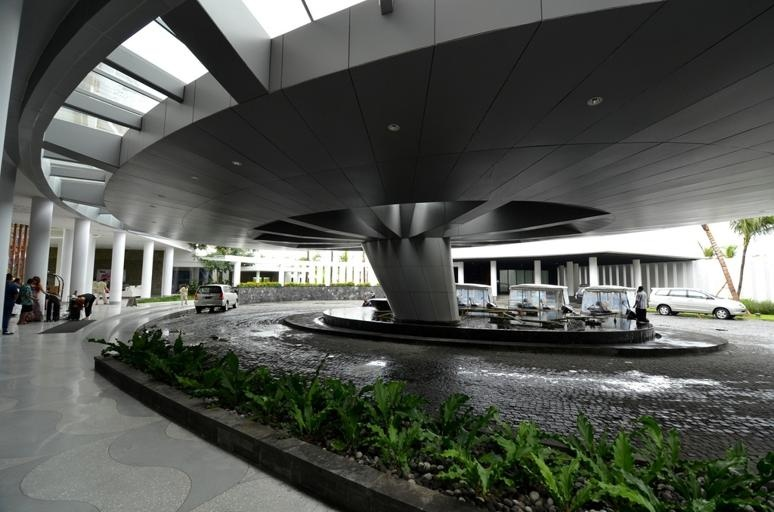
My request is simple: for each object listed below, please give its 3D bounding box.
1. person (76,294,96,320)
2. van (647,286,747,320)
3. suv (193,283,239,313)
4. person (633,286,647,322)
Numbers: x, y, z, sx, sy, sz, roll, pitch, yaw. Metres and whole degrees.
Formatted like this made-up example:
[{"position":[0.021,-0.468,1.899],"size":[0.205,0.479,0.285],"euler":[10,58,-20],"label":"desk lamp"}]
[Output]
[{"position":[-14.867,2.480,18.281],"size":[0.438,1.180,2.672],"euler":[5,-7,-33],"label":"person"},{"position":[21.716,3.318,26.418],"size":[2.609,1.894,5.508],"euler":[8,-11,-37],"label":"van"},{"position":[-11.643,2.942,25.967],"size":[1.777,1.129,3.588],"euler":[-1,-9,1],"label":"suv"},{"position":[11.623,2.237,16.977],"size":[0.441,1.605,1.249],"euler":[-4,-8,33],"label":"person"}]
